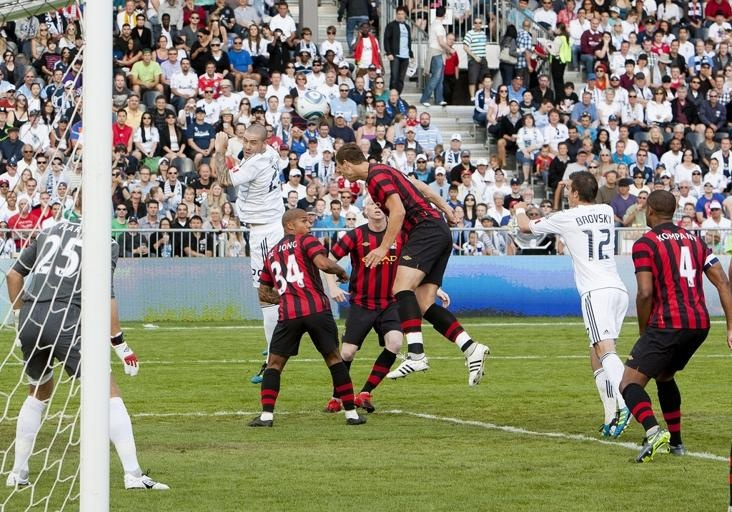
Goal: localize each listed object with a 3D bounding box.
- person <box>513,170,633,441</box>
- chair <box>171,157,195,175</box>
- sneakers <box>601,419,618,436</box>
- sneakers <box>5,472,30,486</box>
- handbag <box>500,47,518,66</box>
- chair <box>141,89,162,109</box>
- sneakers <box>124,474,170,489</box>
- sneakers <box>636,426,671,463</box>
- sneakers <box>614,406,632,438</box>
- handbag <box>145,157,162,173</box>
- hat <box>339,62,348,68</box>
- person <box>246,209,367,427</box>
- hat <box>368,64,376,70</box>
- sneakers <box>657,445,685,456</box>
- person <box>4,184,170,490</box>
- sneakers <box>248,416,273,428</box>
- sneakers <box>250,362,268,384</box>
[{"bbox_3d":[2.236,0.470,12.321,1.117,2.626,0.556,6,9,41],"label":"person"},{"bbox_3d":[-3.081,-1.517,20.782,0.289,0.336,0.370,3,0,-16],"label":"chair"},{"bbox_3d":[2.409,1.718,12.269,0.082,0.234,0.098,29,1,13],"label":"sneakers"},{"bbox_3d":[-3.086,1.998,10.900,0.168,0.111,0.114,5,-3,-20],"label":"sneakers"},{"bbox_3d":[2.894,-4.081,24.785,0.292,0.309,0.158,7,14,17],"label":"handbag"},{"bbox_3d":[-3.789,-2.804,21.887,0.296,0.414,0.339,2,-6,-10],"label":"chair"},{"bbox_3d":[-1.944,2.004,10.851,0.418,0.176,0.152,3,-4,-7],"label":"sneakers"},{"bbox_3d":[2.687,1.779,11.480,0.107,0.299,0.164,36,16,-29],"label":"sneakers"},{"bbox_3d":[2.538,1.646,12.181,0.172,0.391,0.137,6,35,-3],"label":"sneakers"},{"bbox_3d":[-3.538,-1.528,20.470,0.251,0.256,0.142,5,-20,-22],"label":"handbag"},{"bbox_3d":[-0.424,-3.727,23.523,0.181,0.104,0.300,0,5,-4],"label":"hat"},{"bbox_3d":[-0.627,0.622,12.548,1.110,2.213,0.594,0,7,-1],"label":"person"},{"bbox_3d":[0.135,-3.740,23.975,0.101,0.079,0.107,2,-2,-8],"label":"hat"},{"bbox_3d":[2.910,1.857,11.724,0.258,0.125,0.104,-3,-3,38],"label":"sneakers"},{"bbox_3d":[-2.698,0.865,10.904,1.437,2.403,0.816,3,8,25],"label":"person"},{"bbox_3d":[-1.056,1.697,12.520,0.264,0.123,0.099,3,-3,9],"label":"sneakers"},{"bbox_3d":[-1.250,1.406,14.675,0.185,0.240,0.545,-1,-7,4],"label":"sneakers"}]
